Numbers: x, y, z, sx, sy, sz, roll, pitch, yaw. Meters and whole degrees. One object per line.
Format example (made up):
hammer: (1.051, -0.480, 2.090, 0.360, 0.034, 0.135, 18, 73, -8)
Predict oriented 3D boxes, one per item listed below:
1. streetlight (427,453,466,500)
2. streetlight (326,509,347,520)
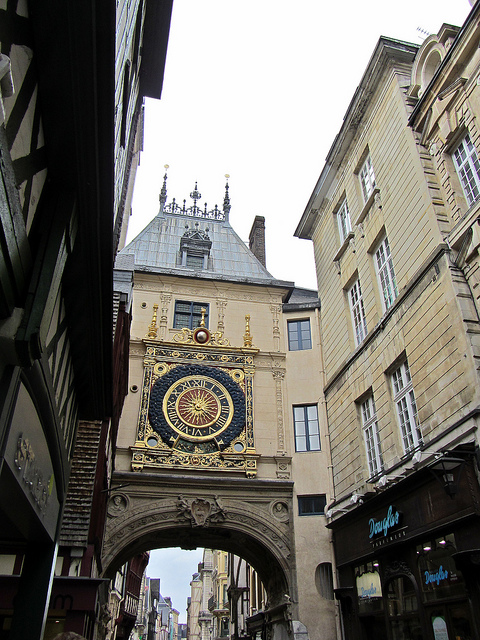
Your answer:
streetlight: (3.900, 2.915, 9.159, 0.625, 0.815, 0.633, 15, -17, -30)
streetlight: (3.342, 6.692, 17.113, 0.595, 0.221, 0.641, -8, -6, 5)
